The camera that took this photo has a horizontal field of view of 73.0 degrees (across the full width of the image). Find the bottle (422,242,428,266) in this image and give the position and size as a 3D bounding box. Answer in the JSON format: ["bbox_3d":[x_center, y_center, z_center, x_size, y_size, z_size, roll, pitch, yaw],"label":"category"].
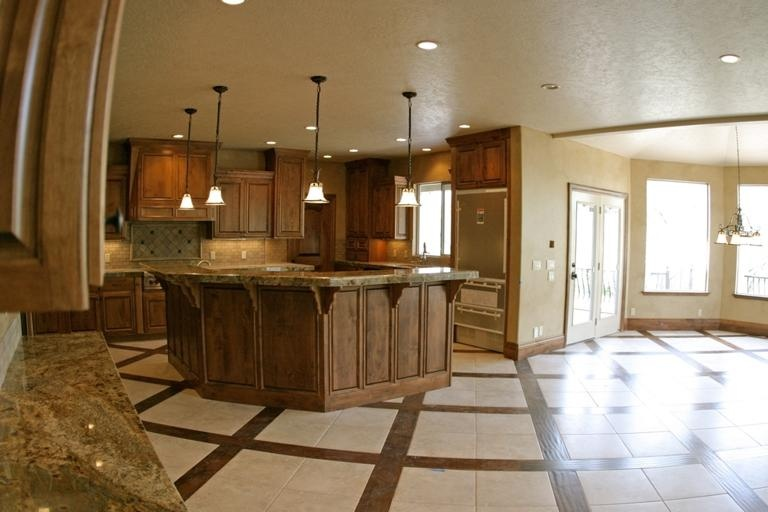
[{"bbox_3d":[0.692,-0.057,8.775,0.091,0.335,0.213,2,9,5],"label":"bottle"}]

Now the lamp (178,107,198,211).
[{"bbox_3d":[-2.529,-1.237,6.737,0.271,1.268,0.250,1,9,-29],"label":"lamp"}]

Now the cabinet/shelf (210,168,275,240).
[{"bbox_3d":[-2.245,-0.812,8.086,1.217,1.303,0.492,-2,4,-25],"label":"cabinet/shelf"}]
